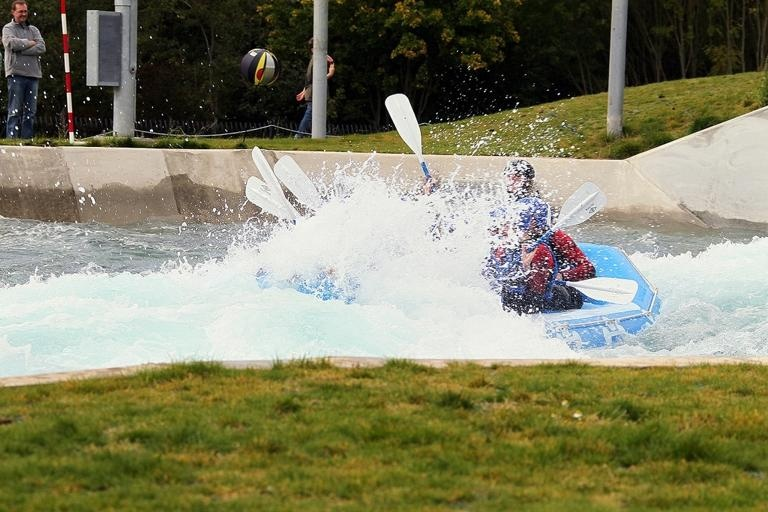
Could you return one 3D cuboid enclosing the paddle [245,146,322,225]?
[{"bbox_3d":[-1.793,-1.148,25.878,0.904,1.629,0.309,-49,-3,-15],"label":"paddle"}]

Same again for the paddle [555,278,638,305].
[{"bbox_3d":[3.428,0.531,24.356,1.331,0.411,0.148,1,-28,2],"label":"paddle"}]

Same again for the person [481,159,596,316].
[{"bbox_3d":[2.381,-0.309,24.304,1.610,2.393,1.023,2,7,40],"label":"person"}]
